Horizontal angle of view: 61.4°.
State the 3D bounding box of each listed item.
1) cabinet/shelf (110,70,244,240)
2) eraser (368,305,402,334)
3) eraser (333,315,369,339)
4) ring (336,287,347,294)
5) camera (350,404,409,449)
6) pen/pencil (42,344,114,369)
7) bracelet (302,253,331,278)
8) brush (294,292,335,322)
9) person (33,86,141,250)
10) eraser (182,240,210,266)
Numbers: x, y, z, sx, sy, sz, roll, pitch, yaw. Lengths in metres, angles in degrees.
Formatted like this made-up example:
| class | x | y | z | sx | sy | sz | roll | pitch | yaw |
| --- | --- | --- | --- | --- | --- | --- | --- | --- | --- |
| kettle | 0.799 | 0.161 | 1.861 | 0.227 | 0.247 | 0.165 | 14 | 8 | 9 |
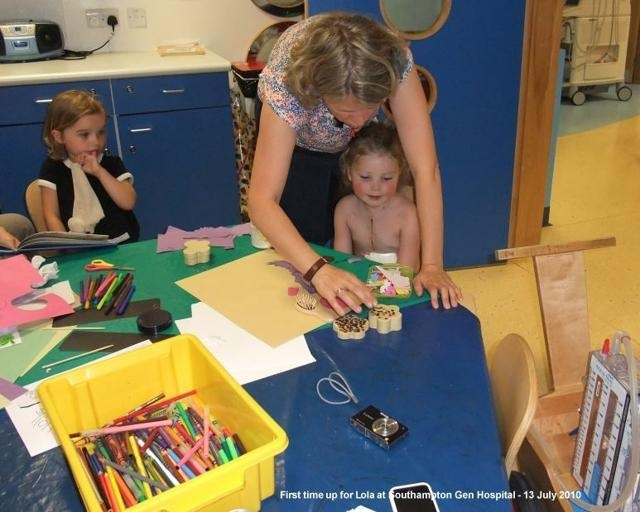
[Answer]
| class | x | y | z | sx | sy | sz | roll | pitch | yaw |
| --- | --- | --- | --- | --- | --- | --- | --- | --- | --- |
| cabinet/shelf | -0.764 | -0.534 | 2.758 | 0.654 | 1.089 | 0.411 | -14 | 31 | -23 |
| eraser | 0.143 | 0.146 | 1.230 | 0.056 | 0.023 | 0.065 | -8 | 33 | -2 |
| eraser | 0.066 | 0.157 | 1.214 | 0.050 | 0.013 | 0.055 | 9 | 33 | 20 |
| ring | 0.048 | 0.080 | 1.275 | 0.013 | 0.007 | 0.018 | -6 | 27 | 9 |
| camera | 0.105 | 0.304 | 0.963 | 0.053 | 0.039 | 0.088 | -18 | 17 | -41 |
| pen/pencil | -0.511 | 0.212 | 1.134 | 0.114 | 0.009 | 0.008 | -20 | 9 | -16 |
| bracelet | -0.012 | 0.026 | 1.381 | 0.040 | 0.069 | 0.069 | 47 | 5 | 32 |
| brush | -0.018 | 0.121 | 1.292 | 0.087 | 0.032 | 0.051 | 29 | 48 | 24 |
| person | -1.019 | -0.191 | 2.328 | 0.352 | 1.026 | 0.321 | -11 | 39 | -35 |
| eraser | -0.350 | -0.017 | 1.525 | 0.068 | 0.026 | 0.073 | -19 | 38 | -28 |
